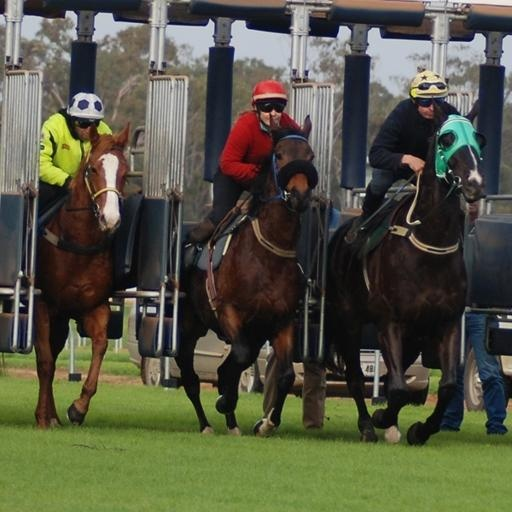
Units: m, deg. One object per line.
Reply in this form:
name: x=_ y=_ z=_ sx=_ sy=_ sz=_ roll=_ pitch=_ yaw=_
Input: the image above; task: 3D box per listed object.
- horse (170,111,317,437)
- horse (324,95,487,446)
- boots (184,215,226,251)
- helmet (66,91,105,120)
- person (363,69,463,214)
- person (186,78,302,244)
horse: x=-0.078 y=0.158 z=11.263 sx=0.642 sy=2.525 sz=1.959 roll=2 pitch=3 yaw=-20
horse: x=1.167 y=0.148 z=10.976 sx=0.563 sy=2.575 sz=2.034 roll=2 pitch=3 yaw=-18
boots: x=-0.441 y=-0.157 z=11.934 sx=0.269 sy=0.117 sz=0.209 roll=-38 pitch=22 yaw=25
helmet: x=-1.419 y=-1.246 z=11.946 sx=0.294 sy=0.227 sz=0.320 roll=3 pitch=3 yaw=-10
person: x=1.245 y=-0.762 z=11.610 sx=0.695 sy=1.311 sz=1.405 roll=3 pitch=0 yaw=-13
person: x=-0.136 y=-0.688 z=11.774 sx=0.598 sy=0.750 sz=1.508 roll=-7 pitch=-23 yaw=-41
